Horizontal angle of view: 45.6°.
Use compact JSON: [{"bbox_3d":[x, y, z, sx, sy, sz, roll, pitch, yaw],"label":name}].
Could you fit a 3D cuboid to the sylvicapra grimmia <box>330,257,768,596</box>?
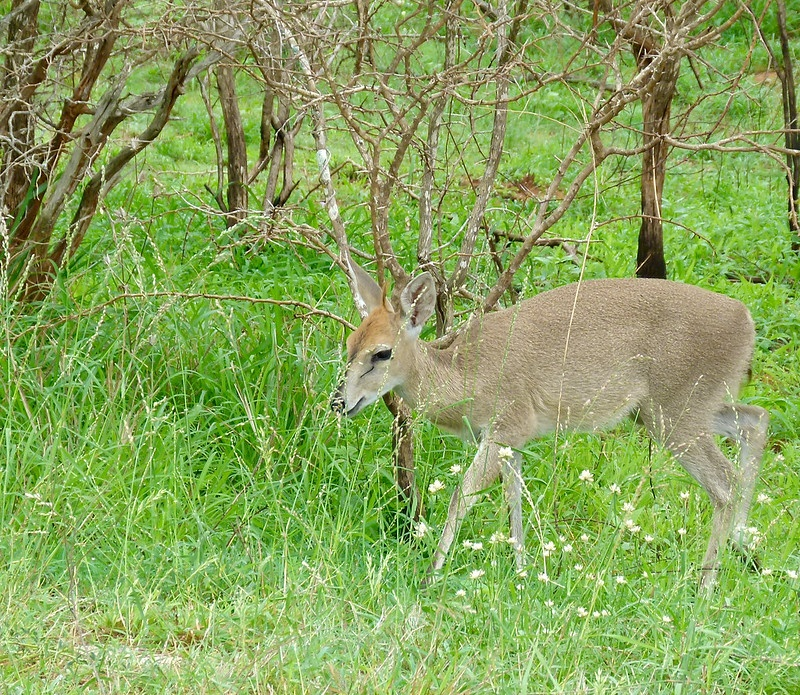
[{"bbox_3d":[0.783,0.294,4.497,2.029,1.311,0.650,7,3,-9],"label":"sylvicapra grimmia"}]
